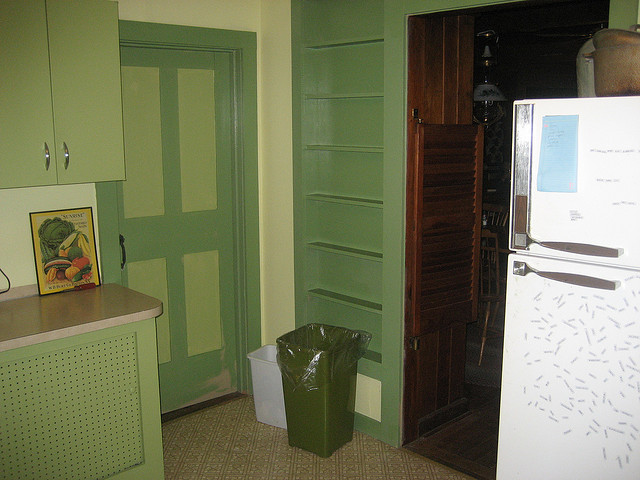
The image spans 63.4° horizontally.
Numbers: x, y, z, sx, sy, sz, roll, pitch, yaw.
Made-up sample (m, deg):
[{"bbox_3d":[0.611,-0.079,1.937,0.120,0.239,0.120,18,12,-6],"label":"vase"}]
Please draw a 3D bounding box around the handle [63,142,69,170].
[{"bbox_3d":[-1.353,-0.450,2.764,0.027,0.141,0.011,-7,14,-27],"label":"handle"}]

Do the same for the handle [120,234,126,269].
[{"bbox_3d":[-1.306,0.076,3.437,0.025,0.230,0.055,-4,12,-15],"label":"handle"}]

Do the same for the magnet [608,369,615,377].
[{"bbox_3d":[1.218,0.559,2.174,0.008,0.033,0.005,-36,17,-21],"label":"magnet"}]

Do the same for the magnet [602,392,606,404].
[{"bbox_3d":[1.203,0.674,2.202,0.011,0.049,0.003,7,14,31],"label":"magnet"}]

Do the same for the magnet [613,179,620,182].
[{"bbox_3d":[1.184,-0.239,2.078,0.022,0.011,0.005,5,13,20],"label":"magnet"}]

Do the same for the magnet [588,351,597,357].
[{"bbox_3d":[1.158,0.488,2.214,0.031,0.019,0.003,9,15,36],"label":"magnet"}]

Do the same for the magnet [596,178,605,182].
[{"bbox_3d":[1.139,-0.246,2.110,0.004,0.013,0.018,2,7,-45],"label":"magnet"}]

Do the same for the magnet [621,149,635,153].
[{"bbox_3d":[1.215,-0.353,2.052,0.045,0.011,0.005,6,14,25],"label":"magnet"}]

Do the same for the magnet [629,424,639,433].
[{"bbox_3d":[1.298,0.780,2.150,0.010,0.010,0.043,18,27,-47],"label":"magnet"}]

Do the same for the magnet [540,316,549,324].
[{"bbox_3d":[1.005,0.358,2.325,0.042,0.007,0.009,39,23,-36],"label":"magnet"}]

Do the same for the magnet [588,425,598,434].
[{"bbox_3d":[1.181,0.822,2.240,0.009,0.010,0.034,39,3,-38],"label":"magnet"}]

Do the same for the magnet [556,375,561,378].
[{"bbox_3d":[1.060,0.610,2.309,0.014,0.004,0.014,2,21,13],"label":"magnet"}]

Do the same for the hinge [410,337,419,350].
[{"bbox_3d":[0.598,0.665,3.325,0.081,0.082,0.044,-3,8,-26],"label":"hinge"}]

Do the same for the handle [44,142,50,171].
[{"bbox_3d":[-1.427,-0.439,2.707,0.010,0.142,0.031,8,15,34],"label":"handle"}]

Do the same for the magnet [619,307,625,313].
[{"bbox_3d":[1.236,0.287,2.128,0.005,0.011,0.021,21,-17,-23],"label":"magnet"}]

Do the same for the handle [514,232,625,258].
[{"bbox_3d":[1.069,0.018,2.192,0.365,0.066,0.033,13,22,33],"label":"handle"}]

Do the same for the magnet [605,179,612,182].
[{"bbox_3d":[1.161,-0.241,2.093,0.025,0.011,0.003,8,14,31],"label":"magnet"}]

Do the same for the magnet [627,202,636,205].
[{"bbox_3d":[1.234,-0.146,2.057,0.025,0.009,0.004,5,13,22],"label":"magnet"}]
